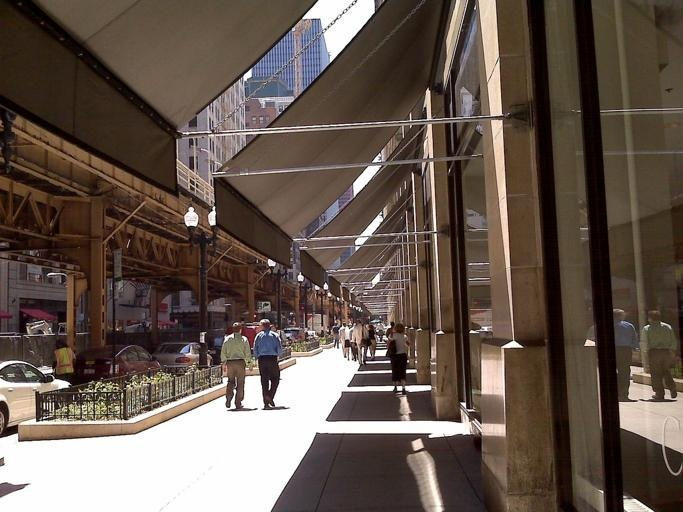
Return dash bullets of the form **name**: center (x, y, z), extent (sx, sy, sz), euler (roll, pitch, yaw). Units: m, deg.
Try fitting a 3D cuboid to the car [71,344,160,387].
- **car**: center (-7.034, 3.223, 19.859), extent (2.503, 1.280, 5.461), euler (-2, -11, -17)
